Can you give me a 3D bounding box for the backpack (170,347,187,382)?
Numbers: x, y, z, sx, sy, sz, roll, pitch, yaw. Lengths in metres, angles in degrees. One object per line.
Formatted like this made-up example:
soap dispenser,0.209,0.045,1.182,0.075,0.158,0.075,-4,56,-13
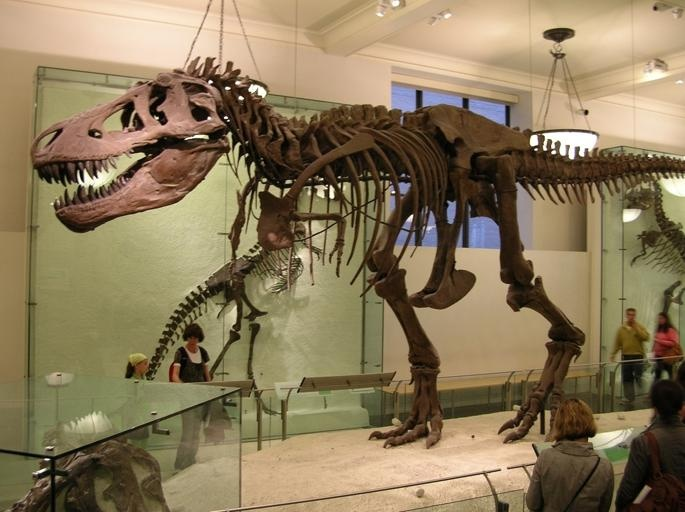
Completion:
backpack,-1.629,1.084,6.048,0.152,0.319,0.404,1,7,-15
